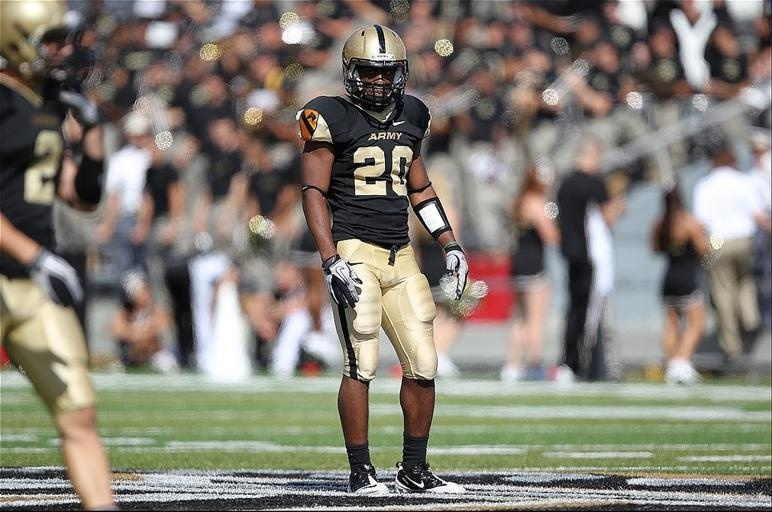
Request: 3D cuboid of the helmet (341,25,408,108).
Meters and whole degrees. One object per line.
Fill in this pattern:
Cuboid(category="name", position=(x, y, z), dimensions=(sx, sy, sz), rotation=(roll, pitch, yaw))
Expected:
Cuboid(category="helmet", position=(-0.072, -1.382, 8.873), dimensions=(0.449, 0.494, 0.612), rotation=(-5, 26, -23))

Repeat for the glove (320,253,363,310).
Cuboid(category="glove", position=(-0.278, 0.185, 8.537), dimensions=(0.280, 0.343, 0.102), rotation=(-27, 17, -32))

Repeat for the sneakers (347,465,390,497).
Cuboid(category="sneakers", position=(-0.102, 1.560, 8.595), dimensions=(0.140, 0.144, 0.333), rotation=(4, -9, -26))

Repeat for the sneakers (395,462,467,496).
Cuboid(category="sneakers", position=(0.346, 1.563, 8.751), dimensions=(0.520, 0.205, 0.191), rotation=(3, -2, 5))

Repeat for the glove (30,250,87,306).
Cuboid(category="glove", position=(-2.005, 0.155, 7.674), dimensions=(0.258, 0.354, 0.111), rotation=(-41, 14, -25))

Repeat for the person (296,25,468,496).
Cuboid(category="person", position=(-0.087, 0.030, 8.706), dimensions=(0.988, 3.221, 0.641), rotation=(-1, 7, -5))

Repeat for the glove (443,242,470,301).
Cuboid(category="glove", position=(0.522, 0.119, 8.922), dimensions=(0.216, 0.408, 0.117), rotation=(-5, -34, 12))
